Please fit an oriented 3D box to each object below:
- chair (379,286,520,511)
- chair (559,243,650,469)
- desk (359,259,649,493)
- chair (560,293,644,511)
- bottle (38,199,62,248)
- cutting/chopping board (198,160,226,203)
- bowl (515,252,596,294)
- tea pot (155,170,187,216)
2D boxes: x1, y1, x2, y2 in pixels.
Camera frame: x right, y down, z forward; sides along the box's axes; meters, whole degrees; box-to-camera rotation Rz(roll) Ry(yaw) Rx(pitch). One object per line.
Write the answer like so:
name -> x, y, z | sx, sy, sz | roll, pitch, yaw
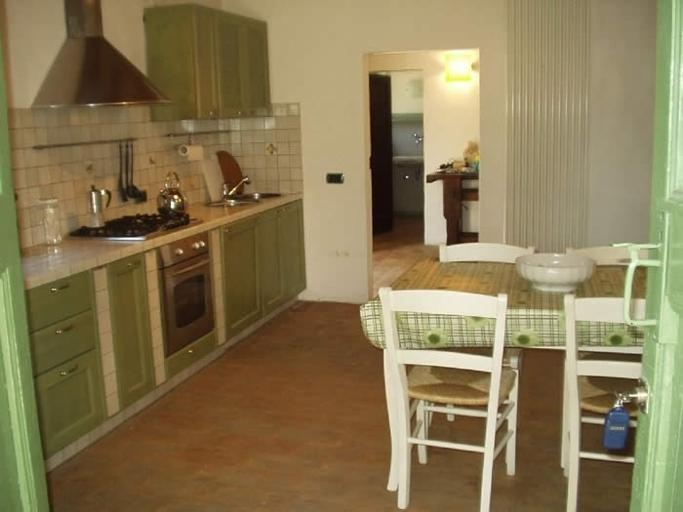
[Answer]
chair -> 0.543, 0.592, 2.689 | 0.589, 1.106, 0.785 | 3, 14, 18
chair -> 1.299, 0.396, 2.675 | 0.509, 0.852, 0.449 | -12, -4, 20
desk -> 0.784, 0.253, 2.791 | 1.152, 0.759, 1.183 | 1, 9, 13
chair -> 1.141, 0.625, 2.483 | 0.318, 1.084, 0.687 | 5, 15, 27
bottle -> -1.776, -0.225, 3.469 | 0.112, 0.274, 0.202 | 0, 13, 8
cutting/chopping board -> -1.165, -0.699, 5.058 | 0.040, 0.370, 0.270 | -4, 23, 21
bowl -> 1.015, 0.074, 2.641 | 0.243, 0.098, 0.248 | -1, 15, 0
tea pot -> -1.273, -0.456, 4.189 | 0.213, 0.354, 0.231 | 4, 11, -1
